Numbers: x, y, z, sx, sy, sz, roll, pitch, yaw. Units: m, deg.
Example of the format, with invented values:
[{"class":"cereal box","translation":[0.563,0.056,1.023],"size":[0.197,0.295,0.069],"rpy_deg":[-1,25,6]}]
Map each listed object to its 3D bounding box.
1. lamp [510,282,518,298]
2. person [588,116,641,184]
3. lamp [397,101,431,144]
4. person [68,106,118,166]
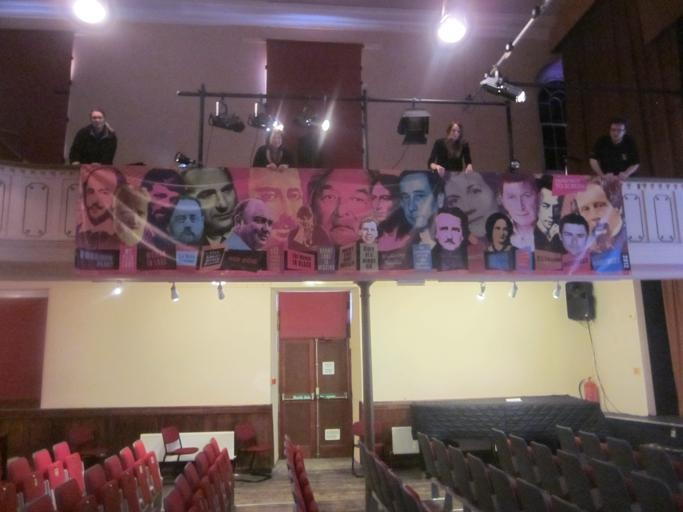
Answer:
[{"class":"lamp","translation":[3.365,0.649,11.893],"size":[0.134,0.321,2.233],"rpy_deg":[-3,-4,16]},{"class":"person","translation":[4.452,-1.783,10.106],"size":[0.831,1.583,0.867],"rpy_deg":[1,7,12]},{"class":"lamp","translation":[1.313,-2.468,10.987],"size":[0.560,0.708,0.584],"rpy_deg":[-2,-8,35]},{"class":"person","translation":[-3.838,-1.797,9.608],"size":[0.609,0.972,0.597],"rpy_deg":[-5,14,-30]}]
